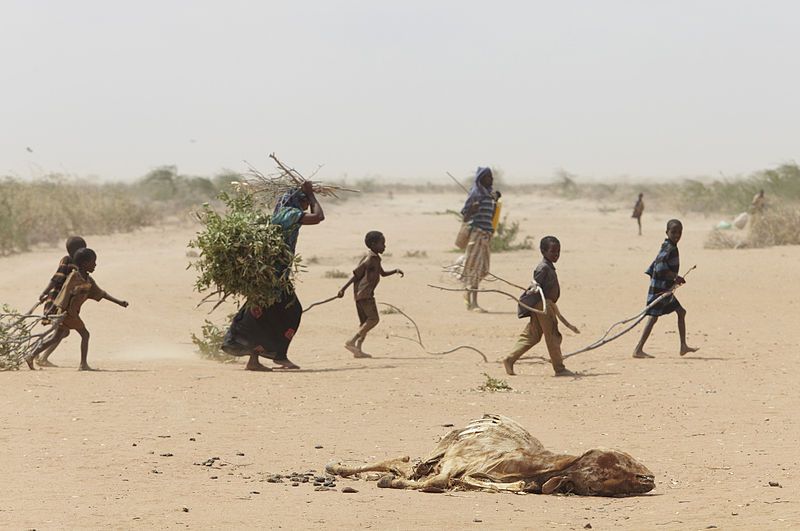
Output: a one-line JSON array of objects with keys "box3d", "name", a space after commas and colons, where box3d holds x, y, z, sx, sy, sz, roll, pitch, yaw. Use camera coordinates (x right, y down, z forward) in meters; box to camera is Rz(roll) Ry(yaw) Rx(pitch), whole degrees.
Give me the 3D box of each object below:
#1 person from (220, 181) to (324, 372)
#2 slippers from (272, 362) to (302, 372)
[{"box3d": [-2.080, 0.166, 21.101, 1.538, 3.022, 0.639, 0, 4, -14], "name": "person"}, {"box3d": [-1.859, 1.639, 21.254, 0.482, 0.231, 0.146, -1, 3, 8], "name": "slippers"}]
